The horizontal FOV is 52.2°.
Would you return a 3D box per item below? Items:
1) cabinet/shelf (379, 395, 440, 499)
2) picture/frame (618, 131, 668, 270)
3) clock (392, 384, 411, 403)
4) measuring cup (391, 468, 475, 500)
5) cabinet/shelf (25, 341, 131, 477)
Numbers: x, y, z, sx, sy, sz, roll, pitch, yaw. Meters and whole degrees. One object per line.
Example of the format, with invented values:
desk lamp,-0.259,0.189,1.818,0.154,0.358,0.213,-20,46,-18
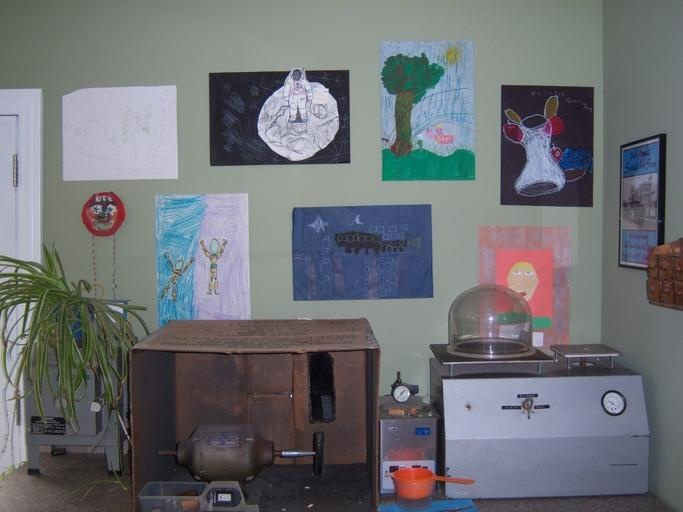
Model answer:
cabinet/shelf,0.279,0.821,3.047,0.444,0.340,0.349,0,-4,-4
picture/frame,1.358,-0.239,3.118,0.140,0.587,0.312,-1,2,4
clock,0.272,0.625,3.179,0.075,0.087,0.030,0,-2,0
measuring cup,0.387,1.000,3.004,0.362,0.113,0.197,1,1,15
cabinet/shelf,-1.238,0.641,3.216,0.345,0.611,0.277,1,9,-16
